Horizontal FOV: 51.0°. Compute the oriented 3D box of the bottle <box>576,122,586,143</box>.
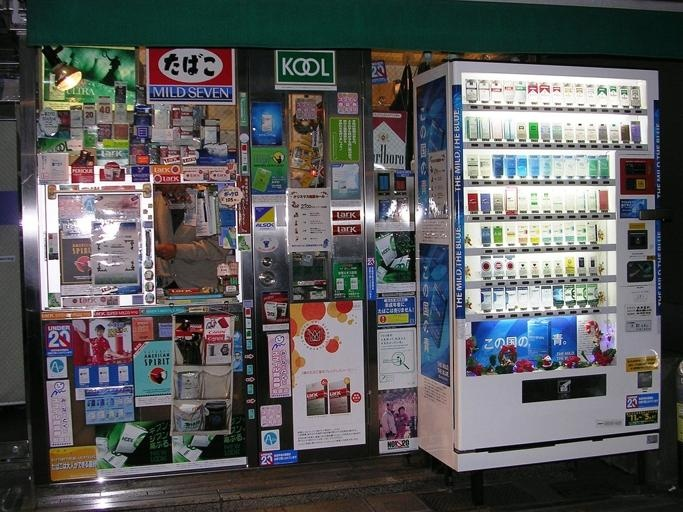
[{"bbox_3d":[1.999,-1.041,5.977,0.099,0.148,0.048,-6,6,-24],"label":"bottle"}]

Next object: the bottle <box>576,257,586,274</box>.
[{"bbox_3d":[2.015,0.084,6.011,0.072,0.145,0.030,-3,6,5],"label":"bottle"}]

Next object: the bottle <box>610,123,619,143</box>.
[{"bbox_3d":[2.323,-1.055,6.086,0.074,0.151,0.106,1,8,34],"label":"bottle"}]

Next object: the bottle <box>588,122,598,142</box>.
[{"bbox_3d":[2.103,-1.037,5.998,0.069,0.164,0.103,1,8,36],"label":"bottle"}]

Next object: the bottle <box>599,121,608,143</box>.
[{"bbox_3d":[2.204,-1.047,6.014,0.074,0.153,0.034,-1,-6,-3],"label":"bottle"}]

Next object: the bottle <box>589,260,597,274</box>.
[{"bbox_3d":[2.121,0.085,6.035,0.095,0.141,0.024,-7,7,-30],"label":"bottle"}]

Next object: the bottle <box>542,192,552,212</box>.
[{"bbox_3d":[1.714,-0.456,5.977,0.079,0.161,0.061,-2,6,14],"label":"bottle"}]

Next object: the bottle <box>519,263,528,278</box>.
[{"bbox_3d":[1.511,0.113,5.945,0.073,0.123,0.026,-4,6,1],"label":"bottle"}]

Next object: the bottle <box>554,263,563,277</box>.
[{"bbox_3d":[1.823,0.102,5.987,0.076,0.126,0.026,-7,7,-28],"label":"bottle"}]

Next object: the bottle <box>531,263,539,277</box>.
[{"bbox_3d":[1.615,0.111,5.963,0.071,0.119,0.032,-5,6,-16],"label":"bottle"}]

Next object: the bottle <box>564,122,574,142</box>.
[{"bbox_3d":[1.899,-1.046,5.958,0.094,0.153,0.053,-8,7,-35],"label":"bottle"}]

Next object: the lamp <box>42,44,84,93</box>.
[{"bbox_3d":[-2.216,-1.515,5.707,0.291,0.358,0.335,-6,7,-22],"label":"lamp"}]
